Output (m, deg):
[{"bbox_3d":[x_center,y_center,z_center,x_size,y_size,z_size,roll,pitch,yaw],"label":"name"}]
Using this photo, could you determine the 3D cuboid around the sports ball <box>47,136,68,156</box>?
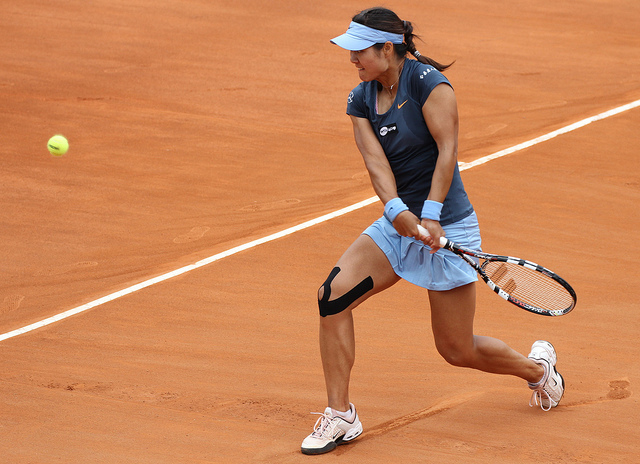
[{"bbox_3d":[-3.434,-1.129,10.688,0.236,0.246,0.274,1,1,-14],"label":"sports ball"}]

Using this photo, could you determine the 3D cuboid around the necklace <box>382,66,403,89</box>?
[{"bbox_3d":[0.559,-1.182,6.227,0.031,0.217,0.031,42,31,17],"label":"necklace"}]

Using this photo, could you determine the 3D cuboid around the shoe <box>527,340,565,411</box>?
[{"bbox_3d":[1.899,1.192,6.852,0.287,0.544,0.334,2,1,18],"label":"shoe"}]

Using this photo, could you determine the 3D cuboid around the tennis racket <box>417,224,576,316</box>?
[{"bbox_3d":[1.494,0.358,6.363,0.977,0.566,0.369,1,1,9],"label":"tennis racket"}]

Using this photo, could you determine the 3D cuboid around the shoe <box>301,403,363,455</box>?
[{"bbox_3d":[0.088,1.484,6.430,0.550,0.274,0.244,-26,26,-27],"label":"shoe"}]
